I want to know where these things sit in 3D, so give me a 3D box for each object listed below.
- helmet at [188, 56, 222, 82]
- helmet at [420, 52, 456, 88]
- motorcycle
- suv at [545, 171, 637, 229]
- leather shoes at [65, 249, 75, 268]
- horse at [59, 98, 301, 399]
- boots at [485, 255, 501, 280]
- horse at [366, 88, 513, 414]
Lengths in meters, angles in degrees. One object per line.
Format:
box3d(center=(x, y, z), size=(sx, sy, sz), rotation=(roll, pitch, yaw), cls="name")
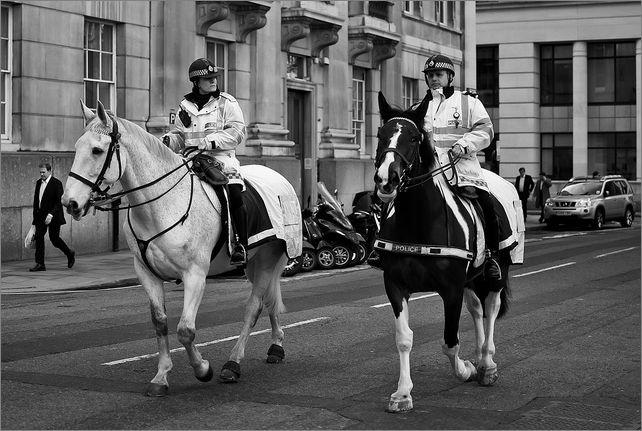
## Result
box3d(center=(-1.892, -2.326, 16.189), size=(0.329, 0.214, 0.441), rotation=(-6, 3, -43), cls="helmet")
box3d(center=(1.821, -2.240, 15.835), size=(0.452, 0.492, 0.559), rotation=(1, 8, 8), cls="helmet")
box3d(center=(0.339, 0.511, 25.206), size=(3.012, 1.705, 1.378), rotation=(-6, 12, -21), cls="motorcycle")
box3d(center=(10.337, -0.555, 39.351), size=(1.845, 1.603, 3.607), rotation=(-2, -4, 38), cls="suv")
box3d(center=(-6.143, 1.068, 25.294), size=(0.182, 0.462, 0.205), rotation=(3, 8, 23), cls="leather shoes")
box3d(center=(-1.990, 0.364, 15.743), size=(3.689, 4.194, 1.574), rotation=(-8, 11, -44), cls="horse")
box3d(center=(2.633, 0.806, 15.746), size=(0.245, 0.373, 0.117), rotation=(-4, 4, 34), cls="boots")
box3d(center=(1.795, 0.416, 15.047), size=(1.179, 4.408, 2.945), rotation=(5, 10, 38), cls="horse")
